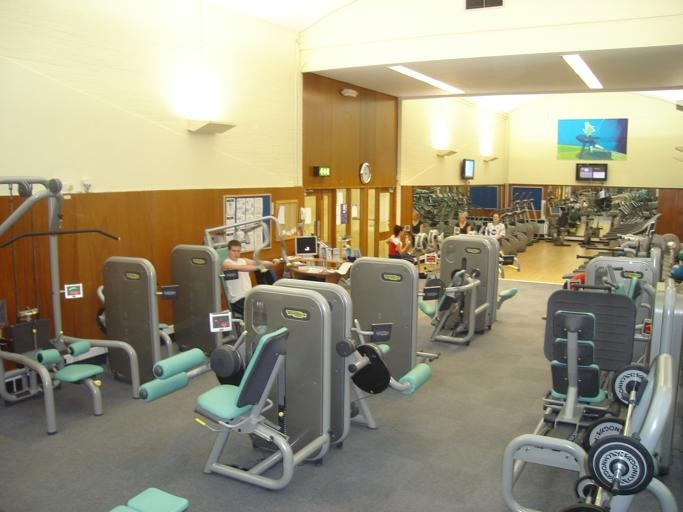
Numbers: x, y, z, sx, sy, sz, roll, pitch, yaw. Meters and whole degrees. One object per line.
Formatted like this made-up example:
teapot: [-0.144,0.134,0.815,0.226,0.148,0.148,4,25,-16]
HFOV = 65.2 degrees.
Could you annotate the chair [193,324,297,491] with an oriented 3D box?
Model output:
chair: [-0.732,1.185,4.168,0.832,1.253,0.583,7,5,20]

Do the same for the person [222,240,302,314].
person: [-1.145,0.419,6.970,0.902,1.124,0.520,4,9,18]

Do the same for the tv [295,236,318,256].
tv: [-0.564,-0.154,8.607,0.305,0.270,0.100,0,2,-13]

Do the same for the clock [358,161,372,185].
clock: [0.478,-1.690,10.903,0.057,0.459,0.444,1,11,29]

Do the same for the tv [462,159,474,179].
tv: [3.695,-2.504,15.527,0.156,0.581,0.739,3,9,30]

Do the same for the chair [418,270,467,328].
chair: [1.478,0.642,7.477,0.634,0.956,2.086,0,8,12]
